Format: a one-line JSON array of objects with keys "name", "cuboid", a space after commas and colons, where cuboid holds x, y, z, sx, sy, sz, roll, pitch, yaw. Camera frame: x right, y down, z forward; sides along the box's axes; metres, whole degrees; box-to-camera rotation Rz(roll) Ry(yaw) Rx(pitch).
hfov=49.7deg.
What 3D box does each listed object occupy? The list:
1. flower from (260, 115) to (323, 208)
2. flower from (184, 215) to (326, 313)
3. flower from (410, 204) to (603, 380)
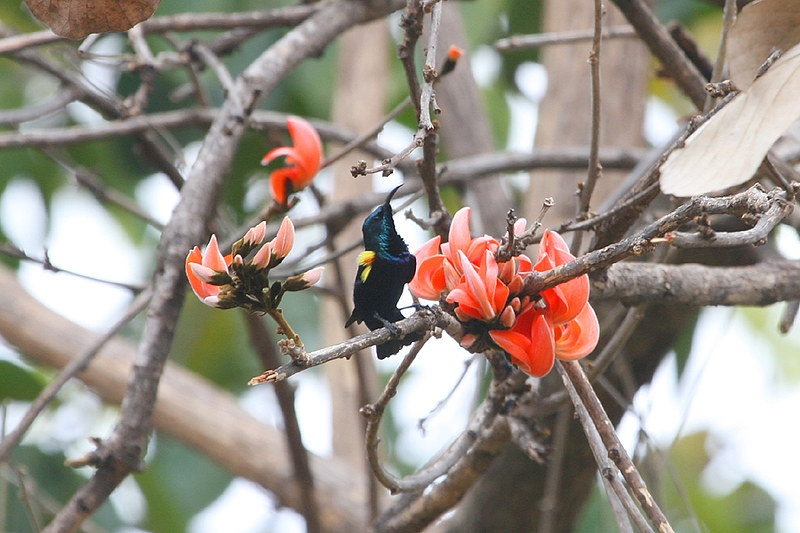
[{"name": "flower", "cuboid": [-0.423, -0.410, 3.430, 0.225, 0.188, 0.359, 2, -89, 3]}, {"name": "flower", "cuboid": [-0.488, 0.000, 2.536, 0.256, 0.205, 0.316, 3, -21, -43]}, {"name": "flower", "cuboid": [0.318, 0.127, 2.801, 0.437, 0.584, 0.458, -65, -27, -9]}]
